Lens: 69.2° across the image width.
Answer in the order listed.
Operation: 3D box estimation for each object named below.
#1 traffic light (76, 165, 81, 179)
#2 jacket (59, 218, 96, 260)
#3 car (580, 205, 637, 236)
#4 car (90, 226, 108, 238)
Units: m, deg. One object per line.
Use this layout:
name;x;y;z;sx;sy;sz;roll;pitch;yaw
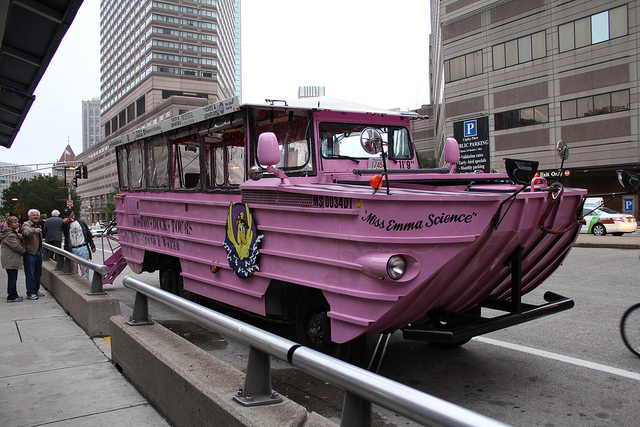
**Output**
traffic light;-16.599;-2.960;32.019;0.283;0.814;1.602;-3;6;-27
jacket;-6.575;0.682;12.637;0.743;1.225;1.548;-4;6;-30
car;13.609;0.403;21.896;1.497;1.167;3.516;0;2;-19
car;-16.481;1.306;34.492;0.958;0.694;2.052;-2;6;-33
